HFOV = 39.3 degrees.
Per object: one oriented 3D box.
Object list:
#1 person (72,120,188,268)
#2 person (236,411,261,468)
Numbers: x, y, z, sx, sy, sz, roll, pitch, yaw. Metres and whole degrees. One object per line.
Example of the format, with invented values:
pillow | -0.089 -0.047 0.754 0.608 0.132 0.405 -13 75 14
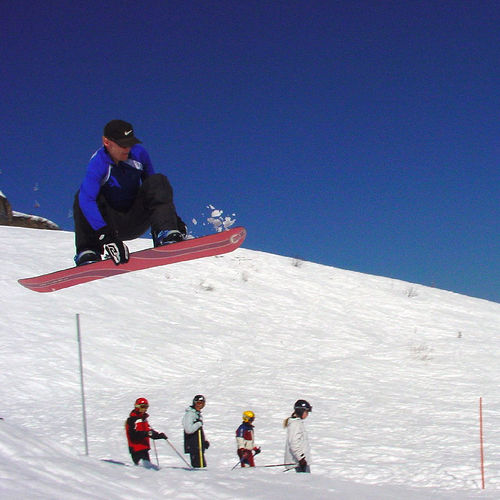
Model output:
person | -1.479 -0.666 8.432 1.328 1.790 0.825 7 10 39
person | -0.030 2.618 9.597 0.318 0.805 0.378 1 8 -1
